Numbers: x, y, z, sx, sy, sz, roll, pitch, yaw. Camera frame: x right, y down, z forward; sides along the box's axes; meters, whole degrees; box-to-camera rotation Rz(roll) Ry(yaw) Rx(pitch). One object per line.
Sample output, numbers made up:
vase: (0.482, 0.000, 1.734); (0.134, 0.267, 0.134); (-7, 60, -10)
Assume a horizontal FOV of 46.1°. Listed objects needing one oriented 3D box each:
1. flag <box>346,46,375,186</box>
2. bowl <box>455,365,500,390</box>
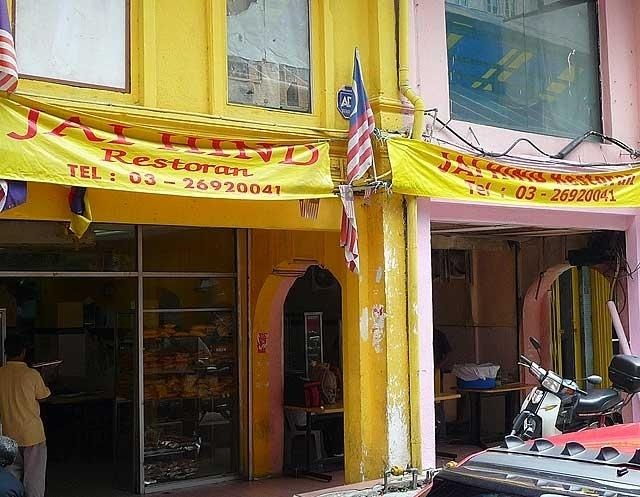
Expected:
flag: (0.427, -1.499, 8.363); (0.328, 1.556, 0.261); (-3, -8, -1)
bowl: (2.794, 2.238, 13.150); (0.557, 0.289, 0.428); (11, -16, -37)
